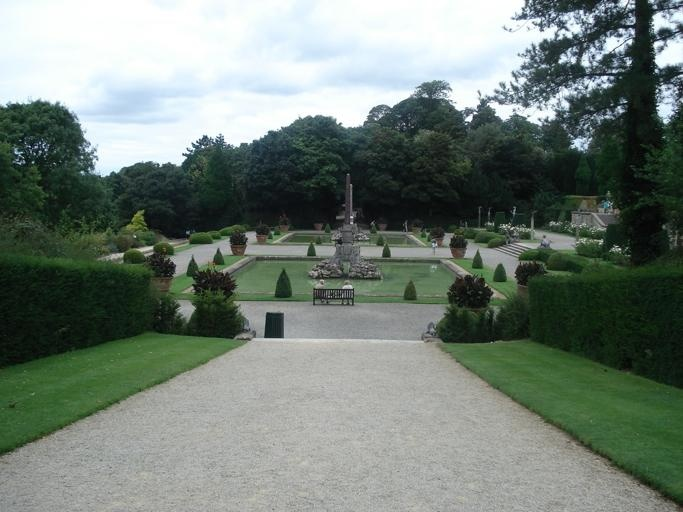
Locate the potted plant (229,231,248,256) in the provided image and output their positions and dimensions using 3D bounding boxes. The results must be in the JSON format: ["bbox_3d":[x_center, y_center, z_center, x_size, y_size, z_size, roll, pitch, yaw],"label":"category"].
[{"bbox_3d":[-7.532,-1.024,37.602,1.023,1.746,1.719,0,5,-8],"label":"potted plant"}]

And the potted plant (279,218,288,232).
[{"bbox_3d":[-7.021,-3.946,62.751,1.031,1.609,1.588,-1,5,-15],"label":"potted plant"}]

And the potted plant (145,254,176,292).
[{"bbox_3d":[-7.591,0.663,21.580,1.042,1.640,1.476,-1,6,-18],"label":"potted plant"}]

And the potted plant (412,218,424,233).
[{"bbox_3d":[9.755,-4.090,65.938,1.898,1.945,1.750,2,14,5],"label":"potted plant"}]

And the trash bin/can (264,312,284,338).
[{"bbox_3d":[-1.987,1.996,15.098,0.529,0.706,0.531,-1,5,-12],"label":"trash bin/can"}]

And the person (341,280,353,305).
[{"bbox_3d":[0.256,1.423,20.892,0.469,0.789,1.159,0,5,0],"label":"person"}]

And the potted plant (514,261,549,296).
[{"bbox_3d":[6.657,0.761,18.213,1.298,1.378,1.222,2,8,14],"label":"potted plant"}]

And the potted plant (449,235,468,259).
[{"bbox_3d":[8.386,-0.761,37.527,1.591,1.951,1.604,1,-1,-1],"label":"potted plant"}]

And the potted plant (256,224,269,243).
[{"bbox_3d":[-7.316,-2.142,48.258,1.656,1.681,1.530,0,-3,5],"label":"potted plant"}]
